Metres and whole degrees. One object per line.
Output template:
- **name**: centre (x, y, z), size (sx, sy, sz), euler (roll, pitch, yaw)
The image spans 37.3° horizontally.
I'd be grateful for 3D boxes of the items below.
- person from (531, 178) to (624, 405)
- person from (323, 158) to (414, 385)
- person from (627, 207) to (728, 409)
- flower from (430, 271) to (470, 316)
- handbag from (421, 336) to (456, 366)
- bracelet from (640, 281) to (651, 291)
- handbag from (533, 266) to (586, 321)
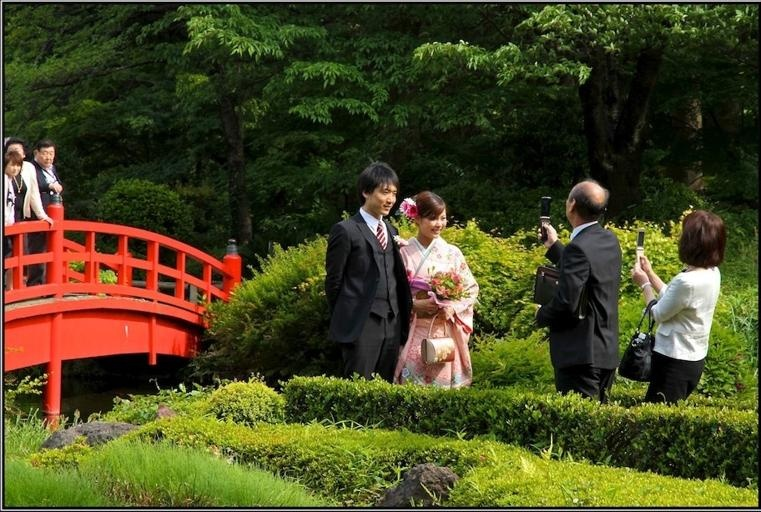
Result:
- **person**: centre (2.594, 0.472, 14.453), size (1.007, 2.821, 0.528), euler (0, -5, 6)
- **person**: centre (-0.149, 0.243, 15.266), size (1.185, 2.948, 0.566), euler (1, -5, -4)
- **person**: centre (3.845, 0.668, 14.365), size (1.098, 2.420, 0.479), euler (-1, -5, 13)
- **flower**: centre (0.881, 0.539, 15.451), size (0.549, 0.500, 0.472), euler (25, -39, -38)
- **handbag**: centre (0.772, 1.261, 15.339), size (0.501, 0.396, 0.352), euler (-4, 21, -27)
- **bracelet**: centre (3.448, 0.404, 14.602), size (0.108, 0.093, 0.143), euler (-28, 24, -26)
- **handbag**: centre (2.324, 0.492, 14.506), size (0.681, 0.650, 0.659), euler (-3, 5, -29)
